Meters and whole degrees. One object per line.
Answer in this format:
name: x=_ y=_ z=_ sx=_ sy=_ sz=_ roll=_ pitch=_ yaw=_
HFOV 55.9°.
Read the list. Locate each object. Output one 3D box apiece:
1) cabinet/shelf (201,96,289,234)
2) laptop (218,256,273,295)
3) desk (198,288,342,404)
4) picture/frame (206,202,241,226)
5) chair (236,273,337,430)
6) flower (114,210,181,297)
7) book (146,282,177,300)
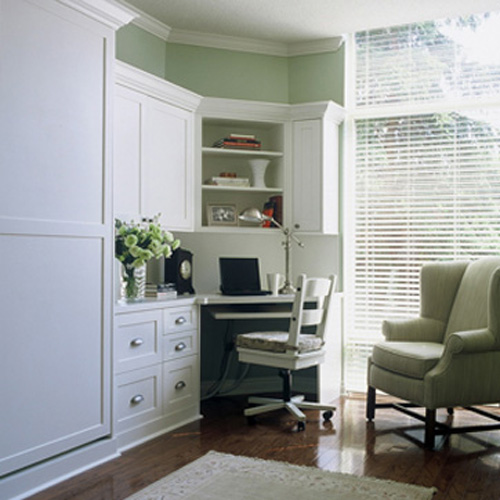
cabinet/shelf: x=-0.059 y=-0.661 z=3.720 sx=0.687 sy=0.965 sz=0.451 roll=1 pitch=-2 yaw=-10
laptop: x=-0.051 y=0.189 z=3.457 sx=0.366 sy=0.259 sz=0.299 roll=3 pitch=-4 yaw=-20
desk: x=0.102 y=0.793 z=3.497 sx=1.125 sy=0.976 sz=0.828 roll=0 pitch=-8 yaw=2
picture/frame: x=-0.220 y=-0.276 z=3.679 sx=0.221 sy=0.150 sz=0.016 roll=2 pitch=-12 yaw=-23
chair: x=0.249 y=0.640 z=3.164 sx=0.629 sy=0.954 sz=0.813 roll=0 pitch=-2 yaw=9
flower: x=-0.663 y=0.034 z=2.847 sx=0.461 sy=0.488 sz=0.431 roll=-1 pitch=0 yaw=-17
book: x=-0.568 y=0.238 z=2.954 sx=0.105 sy=0.062 sz=0.147 roll=1 pitch=0 yaw=36
